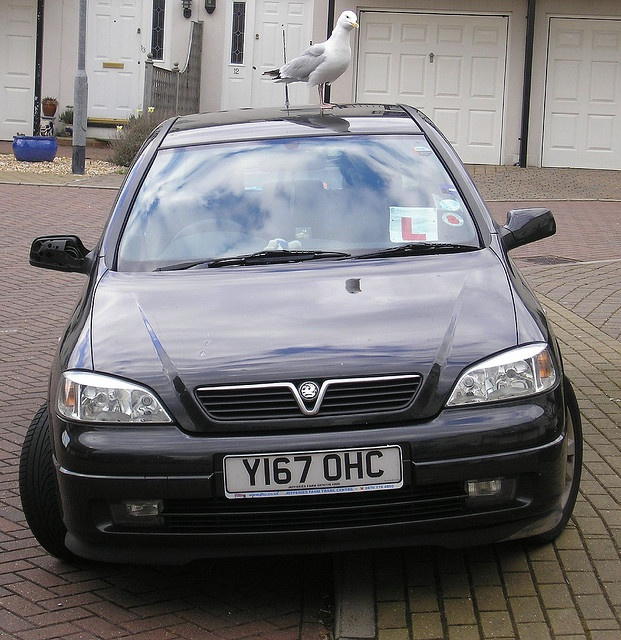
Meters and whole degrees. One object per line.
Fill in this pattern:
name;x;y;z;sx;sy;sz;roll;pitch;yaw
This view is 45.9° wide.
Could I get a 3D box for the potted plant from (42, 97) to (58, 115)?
potted plant;-6.499;-5.403;18.543;0.491;0.441;0.445;3;4;-6
